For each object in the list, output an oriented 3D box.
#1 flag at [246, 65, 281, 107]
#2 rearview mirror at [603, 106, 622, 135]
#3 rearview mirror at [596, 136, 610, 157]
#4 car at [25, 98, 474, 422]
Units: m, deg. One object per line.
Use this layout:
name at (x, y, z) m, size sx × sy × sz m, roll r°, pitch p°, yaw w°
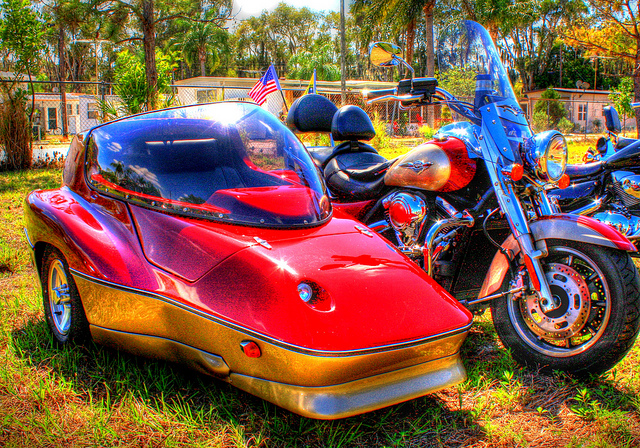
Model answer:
flag at (-1.278, -3.409, 13.173) m, size 1.046 × 0.153 × 1.559 m, roll 10°, pitch 53°, yaw -4°
rearview mirror at (3.544, -1.262, 6.527) m, size 0.221 × 0.385 × 0.085 m, roll 5°, pitch -15°, yaw -30°
rearview mirror at (3.350, -0.919, 6.294) m, size 0.095 × 0.266 × 0.141 m, roll 5°, pitch 0°, yaw -42°
car at (-0.696, 0.238, 3.699) m, size 2.758 × 1.475 × 1.935 m, roll 15°, pitch 18°, yaw 42°
